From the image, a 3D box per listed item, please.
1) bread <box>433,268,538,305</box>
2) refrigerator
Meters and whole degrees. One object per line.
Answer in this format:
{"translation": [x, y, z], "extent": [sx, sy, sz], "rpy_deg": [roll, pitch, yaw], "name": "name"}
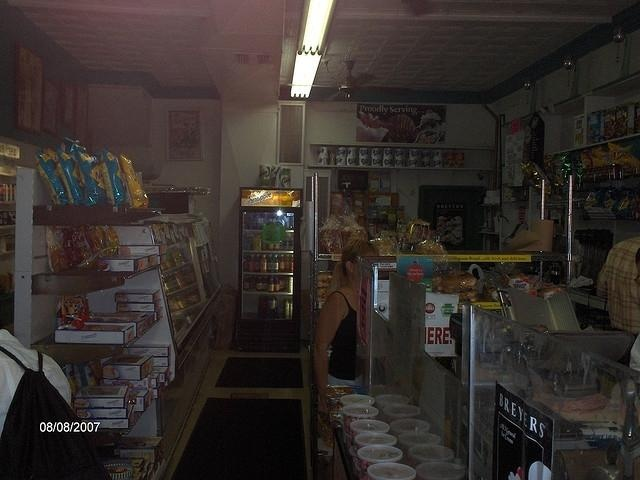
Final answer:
{"translation": [0.948, 0.329, 2.818], "extent": [0.613, 0.185, 0.321], "rpy_deg": [-6, 7, 12], "name": "bread"}
{"translation": [-0.722, 0.527, 6.807], "extent": [0.870, 1.944, 0.537], "rpy_deg": [1, 4, -10], "name": "refrigerator"}
